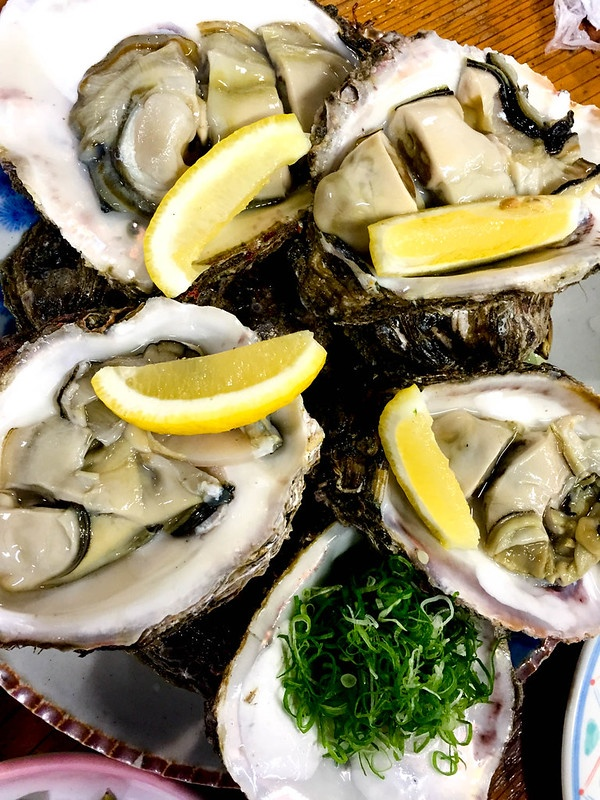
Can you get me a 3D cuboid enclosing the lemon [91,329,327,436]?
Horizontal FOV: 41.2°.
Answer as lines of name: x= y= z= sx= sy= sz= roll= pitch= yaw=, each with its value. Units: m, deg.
lemon: x=-0.129 y=-0.023 z=1.204 sx=0.342 sy=0.102 sz=0.122 roll=-14 pitch=49 yaw=4
